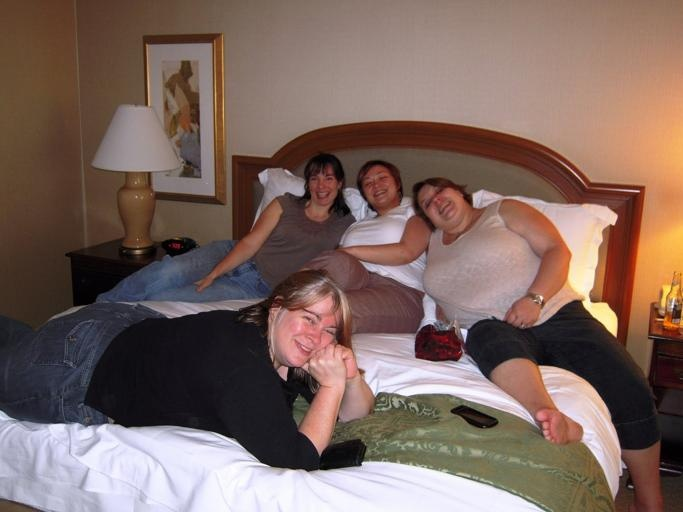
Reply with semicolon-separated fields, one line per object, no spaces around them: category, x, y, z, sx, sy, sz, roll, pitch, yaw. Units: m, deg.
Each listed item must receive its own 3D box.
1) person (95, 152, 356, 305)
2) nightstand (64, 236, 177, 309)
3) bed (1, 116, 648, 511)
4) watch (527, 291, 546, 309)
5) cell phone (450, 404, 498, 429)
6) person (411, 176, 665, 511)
person;-0.624;-0.023;3.738;0.715;0.954;1.918;14;-23;-32
nightstand;-1.480;0.092;3.568;0.560;0.546;0.456;15;26;26
bed;0.058;0.178;2.308;1.610;1.036;1.536;6;17;21
watch;0.876;0.190;2.343;0.067;0.028;0.065;35;11;-31
cell phone;0.445;0.527;1.759;0.065;0.019;0.087;-3;10;-37
person;0.702;0.127;2.687;0.659;0.828;1.910;-24;42;10
